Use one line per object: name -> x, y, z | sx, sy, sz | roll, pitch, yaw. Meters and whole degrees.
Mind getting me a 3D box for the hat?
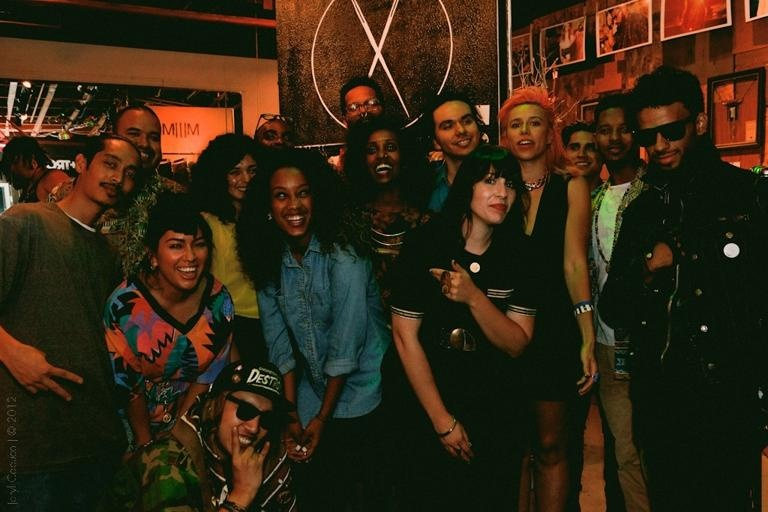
hat -> -0.782, 0.820, 4.110 | 0.411, 0.244, 0.539 | 25, -32, -26
